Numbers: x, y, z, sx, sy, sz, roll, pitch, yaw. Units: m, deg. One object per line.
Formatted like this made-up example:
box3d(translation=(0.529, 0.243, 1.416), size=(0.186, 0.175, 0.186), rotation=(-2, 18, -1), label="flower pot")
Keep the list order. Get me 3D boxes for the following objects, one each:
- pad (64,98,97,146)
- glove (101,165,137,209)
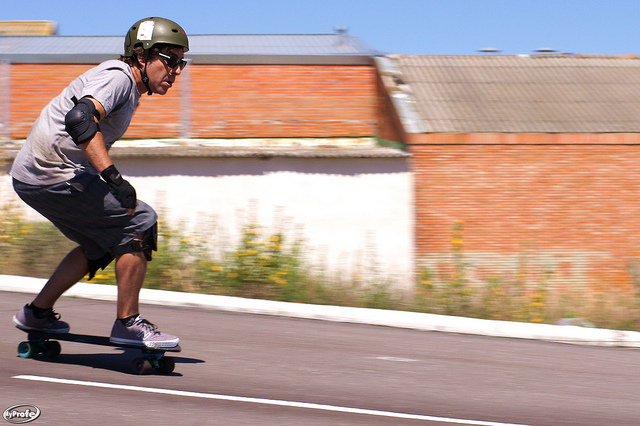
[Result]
box3d(translation=(-2.447, -0.947, 9.426), size=(0.348, 0.440, 0.218), rotation=(2, -3, -2), label="pad")
box3d(translation=(-2.106, -0.270, 9.562), size=(0.436, 0.460, 0.140), rotation=(11, 8, -7), label="glove")
